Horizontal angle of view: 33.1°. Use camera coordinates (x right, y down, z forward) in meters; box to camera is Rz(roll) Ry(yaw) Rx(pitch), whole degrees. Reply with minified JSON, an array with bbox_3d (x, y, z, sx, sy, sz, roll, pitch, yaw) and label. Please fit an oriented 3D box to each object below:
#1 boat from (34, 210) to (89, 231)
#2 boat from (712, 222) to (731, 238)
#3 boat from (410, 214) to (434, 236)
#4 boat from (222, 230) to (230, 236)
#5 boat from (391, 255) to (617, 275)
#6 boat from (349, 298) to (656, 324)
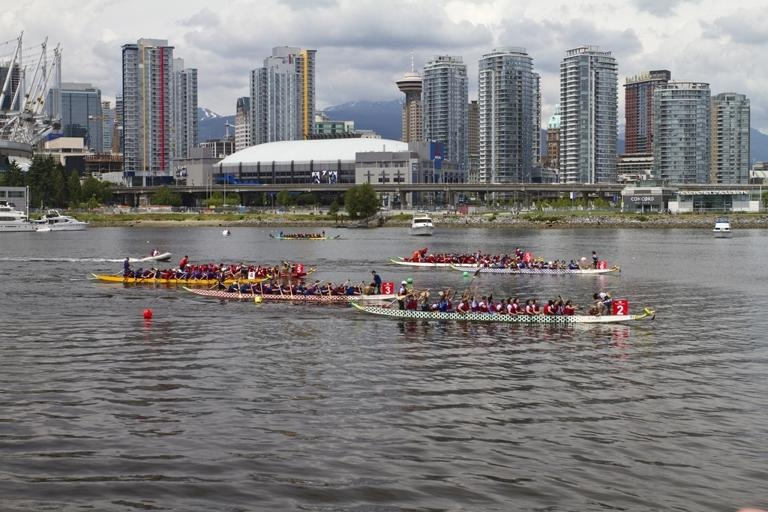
[{"bbox_3d":[-66.279,-6.837,263.330,3.452,2.778,11.322,2,2,36],"label":"boat"},{"bbox_3d":[61.204,-4.839,233.297,1.848,2.729,2.762,-1,3,-36],"label":"boat"},{"bbox_3d":[6.957,-5.728,242.023,3.434,3.396,4.759,0,2,-9],"label":"boat"},{"bbox_3d":[-31.121,-4.871,252.908,1.742,0.941,1.943,0,-1,-2],"label":"boat"},{"bbox_3d":[16.716,1.162,174.781,28.195,2.163,5.423,1,2,19],"label":"boat"},{"bbox_3d":[12.938,6.513,143.326,30.950,1.497,3.054,1,2,4],"label":"boat"}]
